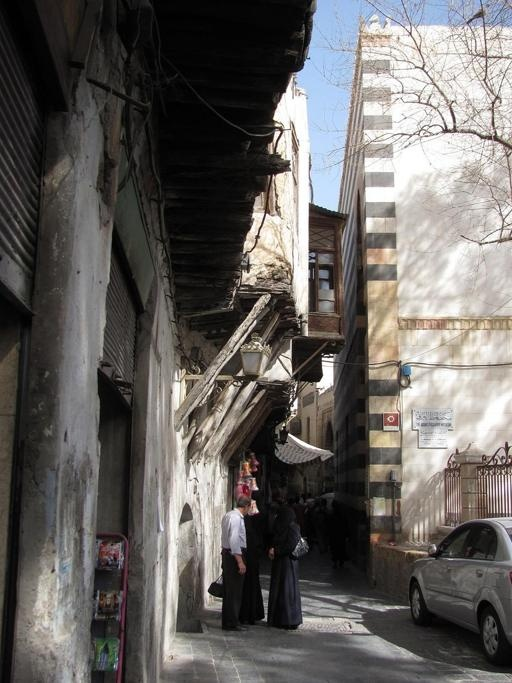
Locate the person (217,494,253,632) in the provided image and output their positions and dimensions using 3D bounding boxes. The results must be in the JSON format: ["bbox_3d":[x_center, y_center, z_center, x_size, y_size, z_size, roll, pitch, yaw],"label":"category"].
[{"bbox_3d":[-0.277,2.882,8.937,0.362,1.688,0.751,1,-9,-2],"label":"person"}]

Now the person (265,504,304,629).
[{"bbox_3d":[0.402,3.080,9.408,0.479,1.615,0.793,1,-9,3],"label":"person"}]

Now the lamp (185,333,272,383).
[{"bbox_3d":[-0.344,0.252,9.313,1.056,0.963,0.597,-6,-13,21],"label":"lamp"}]
